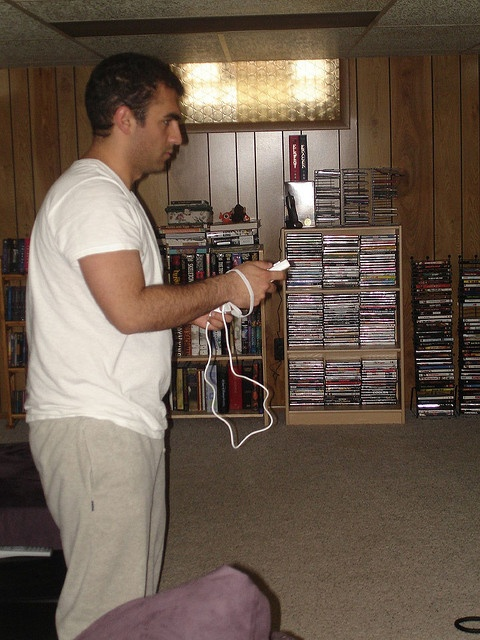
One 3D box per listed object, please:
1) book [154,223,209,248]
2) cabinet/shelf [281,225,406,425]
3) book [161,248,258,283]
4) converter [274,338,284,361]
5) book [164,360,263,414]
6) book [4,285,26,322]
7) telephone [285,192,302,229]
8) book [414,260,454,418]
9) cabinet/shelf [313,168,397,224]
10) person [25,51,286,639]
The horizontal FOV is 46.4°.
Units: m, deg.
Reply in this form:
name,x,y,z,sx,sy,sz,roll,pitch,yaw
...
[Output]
name,x,y,z,sx,sy,sz,roll,pitch,yaw
book,-0.324,-0.492,3.269,0.358,0.091,0.370,1,7,5
cabinet/shelf,0.635,0.030,3.442,0.723,1.187,0.285,-1,7,8
book,-0.208,-0.353,3.361,0.400,0.141,0.394,-3,3,-15
converter,0.258,0.193,3.683,0.067,0.131,0.034,0,5,9
book,-0.154,0.437,3.441,0.575,0.328,0.359,-1,-28,-3
book,-1.369,-0.093,3.394,0.140,0.276,0.196,1,-5,-12
telephone,0.320,-0.652,3.345,0.098,0.217,0.040,-2,7,4
book,1.190,0.124,3.442,0.254,0.968,0.184,0,7,17
cabinet/shelf,0.710,-0.743,3.473,0.454,0.341,0.321,0,3,2
person,-0.213,0.034,1.091,0.346,1.120,0.400,4,9,41
